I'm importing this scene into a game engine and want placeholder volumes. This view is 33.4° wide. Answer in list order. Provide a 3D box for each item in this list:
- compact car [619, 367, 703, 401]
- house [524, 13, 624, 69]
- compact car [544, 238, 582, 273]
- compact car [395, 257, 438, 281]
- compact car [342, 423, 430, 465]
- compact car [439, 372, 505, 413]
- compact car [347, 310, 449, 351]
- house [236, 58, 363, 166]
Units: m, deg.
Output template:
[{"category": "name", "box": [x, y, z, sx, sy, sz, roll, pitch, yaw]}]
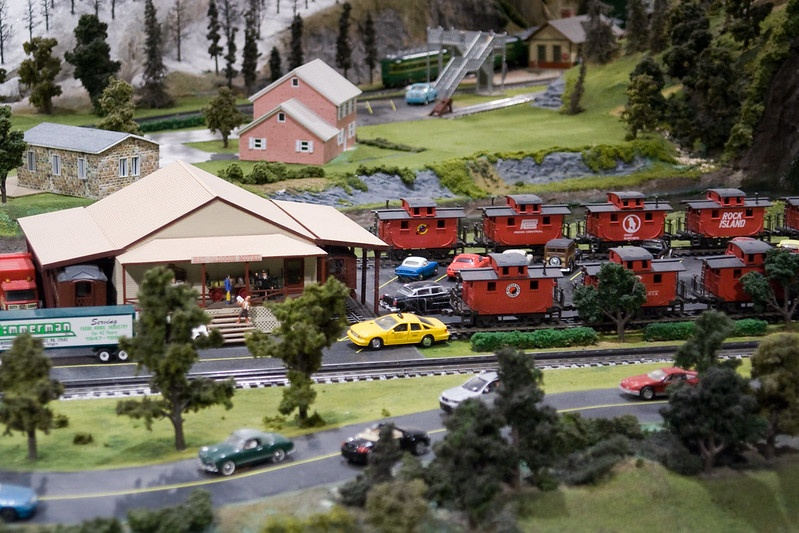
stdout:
[{"category": "compact car", "box": [20.864, 9.264, 108.469, 5.412, 1.586, 2.742, -3, 17, -6]}, {"category": "house", "box": [25.229, -35.524, 215.537, 9.658, 8.019, 3.889, 12, 19, 34]}, {"category": "compact car", "box": [15.584, -0.934, 129.231, 2.491, 2.297, 4.273, 3, 25, 15]}, {"category": "compact car", "box": [1.605, 0.321, 127.110, 3.883, 1.895, 1.983, 0, 16, -4]}, {"category": "compact car", "box": [-0.470, 13.153, 102.046, 6.170, 2.078, 3.054, -13, 20, -18]}, {"category": "compact car", "box": [6.693, 9.966, 106.682, 6.890, 2.137, 2.869, -13, 11, -27]}, {"category": "compact car", "box": [-0.198, 5.477, 115.561, 7.537, 2.305, 3.592, 0, 18, -12]}, {"category": "house", "box": [-11.164, -18.707, 160.397, 10.356, 9.080, 15.393, 9, 22, 20]}]
